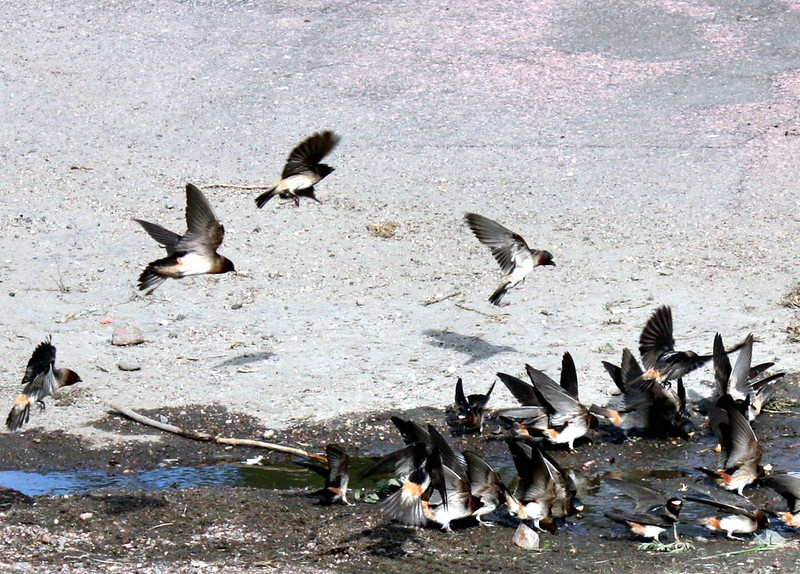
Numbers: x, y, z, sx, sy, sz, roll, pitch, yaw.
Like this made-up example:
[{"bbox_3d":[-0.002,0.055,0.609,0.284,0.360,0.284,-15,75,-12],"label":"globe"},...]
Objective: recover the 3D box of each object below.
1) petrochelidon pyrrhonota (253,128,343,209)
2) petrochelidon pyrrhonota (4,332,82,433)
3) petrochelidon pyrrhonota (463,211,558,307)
[{"bbox_3d":[-1.467,-1.484,17.752,1.237,1.397,0.689,-8,56,-4],"label":"petrochelidon pyrrhonota"},{"bbox_3d":[-4.473,1.194,15.522,0.915,1.084,0.315,-11,23,-28],"label":"petrochelidon pyrrhonota"},{"bbox_3d":[1.584,-0.408,18.005,1.246,1.424,0.334,-3,21,-4],"label":"petrochelidon pyrrhonota"}]
